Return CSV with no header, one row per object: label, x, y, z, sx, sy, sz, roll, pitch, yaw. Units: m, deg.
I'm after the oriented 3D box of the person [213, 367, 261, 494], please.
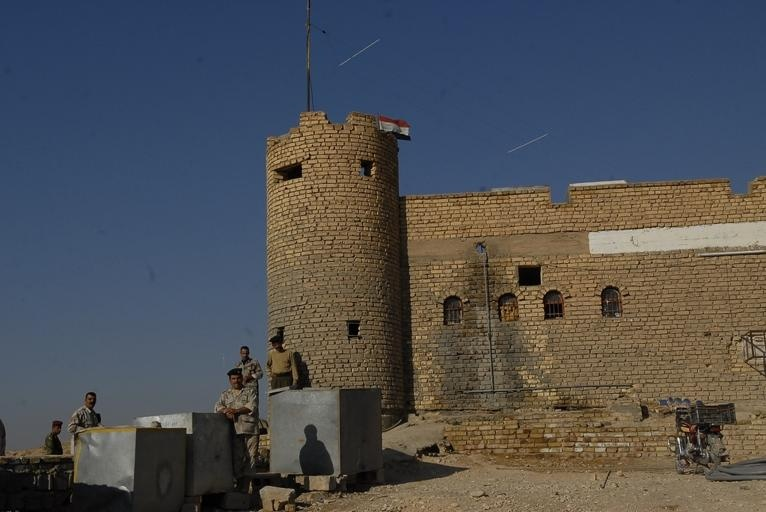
person,-3.214,3.912,28.356,0.843,2.793,0.751,0,-8,-6
